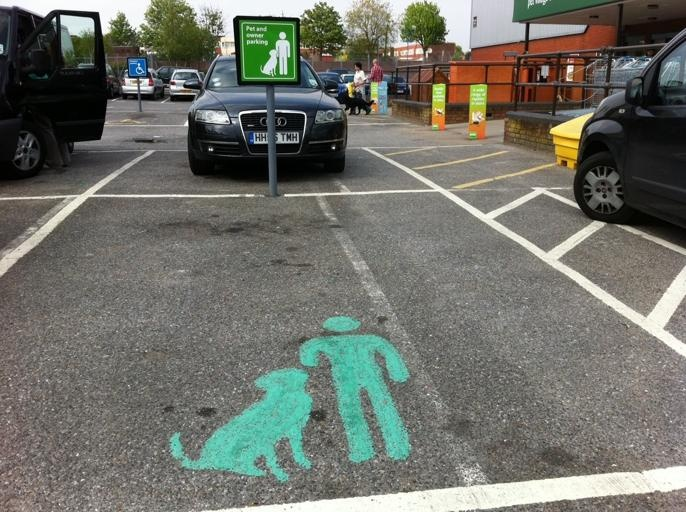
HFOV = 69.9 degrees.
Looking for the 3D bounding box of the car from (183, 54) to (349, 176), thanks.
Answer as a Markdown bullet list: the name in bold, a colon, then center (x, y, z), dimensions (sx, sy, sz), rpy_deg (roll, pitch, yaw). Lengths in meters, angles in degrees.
- **car**: center (-1.362, -2.230, 8.747), dimensions (2.794, 1.857, 2.502), rpy_deg (-1, 26, -2)
